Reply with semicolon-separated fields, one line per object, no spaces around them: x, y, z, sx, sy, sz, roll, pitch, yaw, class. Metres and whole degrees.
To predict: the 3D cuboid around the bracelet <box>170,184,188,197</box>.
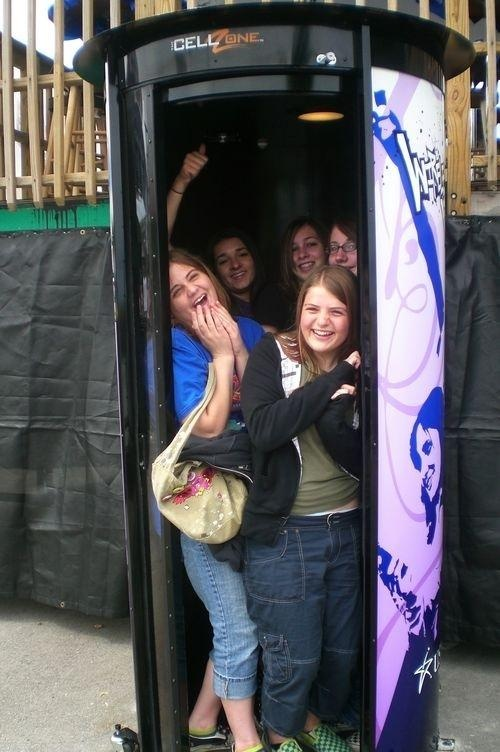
-0.261;-0.657;2.561;0.054;0.036;0.038;-2;4;-15;bracelet

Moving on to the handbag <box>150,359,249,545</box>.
-0.153;0.263;2.304;0.278;0.605;0.259;1;-19;-6;handbag
